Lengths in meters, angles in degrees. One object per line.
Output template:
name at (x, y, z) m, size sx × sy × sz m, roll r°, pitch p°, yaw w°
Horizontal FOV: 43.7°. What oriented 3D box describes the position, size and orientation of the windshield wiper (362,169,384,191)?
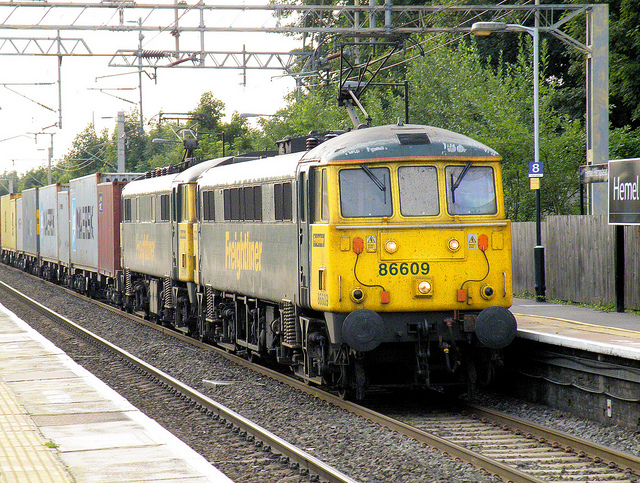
windshield wiper at (0.765, -0.910, 11.881) m, size 0.426 × 0.075 × 0.058 m, roll 42°, pitch 8°, yaw 7°
